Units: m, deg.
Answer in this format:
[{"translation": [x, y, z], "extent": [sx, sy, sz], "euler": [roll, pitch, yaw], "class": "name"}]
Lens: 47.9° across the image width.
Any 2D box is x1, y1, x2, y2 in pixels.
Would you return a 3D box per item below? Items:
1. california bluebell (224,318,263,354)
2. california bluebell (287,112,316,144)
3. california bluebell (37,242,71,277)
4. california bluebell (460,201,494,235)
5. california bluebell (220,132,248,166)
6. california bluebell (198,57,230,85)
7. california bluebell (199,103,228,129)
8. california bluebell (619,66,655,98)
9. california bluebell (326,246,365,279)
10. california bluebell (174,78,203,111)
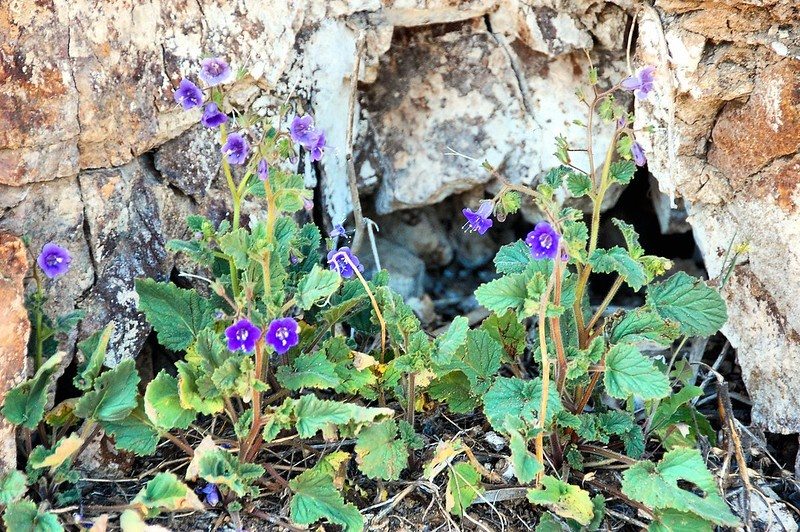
[{"translation": [-0.727, 0.327, 4.188], "extent": [0.163, 0.191, 0.154], "euler": [-3, 17, -11], "class": "california bluebell"}, {"translation": [-0.488, -0.683, 4.384], "extent": [0.114, 0.131, 0.073], "euler": [-24, 34, -29], "class": "california bluebell"}, {"translation": [-1.749, -0.032, 4.564], "extent": [0.152, 0.174, 0.082], "euler": [27, -5, -24], "class": "california bluebell"}, {"translation": [0.406, -0.263, 4.452], "extent": [0.173, 0.072, 0.119], "euler": [-21, -7, 25], "class": "california bluebell"}, {"translation": [-0.788, -0.571, 4.324], "extent": [0.121, 0.141, 0.126], "euler": [-3, 17, -12], "class": "california bluebell"}, {"translation": [-0.885, -0.933, 4.311], "extent": [0.135, 0.123, 0.101], "euler": [-6, 18, -21], "class": "california bluebell"}, {"translation": [-0.898, -0.739, 4.347], "extent": [0.102, 0.119, 0.165], "euler": [-4, 18, -14], "class": "california bluebell"}, {"translation": [1.176, -0.894, 4.479], "extent": [0.175, 0.182, 0.200], "euler": [0, 16, 5], "class": "california bluebell"}, {"translation": [-0.270, -0.031, 4.552], "extent": [0.148, 0.161, 0.067], "euler": [-23, 32, 10], "class": "california bluebell"}, {"translation": [-1.033, -0.835, 4.382], "extent": [0.190, 0.142, 0.127], "euler": [16, 22, 39], "class": "california bluebell"}]
